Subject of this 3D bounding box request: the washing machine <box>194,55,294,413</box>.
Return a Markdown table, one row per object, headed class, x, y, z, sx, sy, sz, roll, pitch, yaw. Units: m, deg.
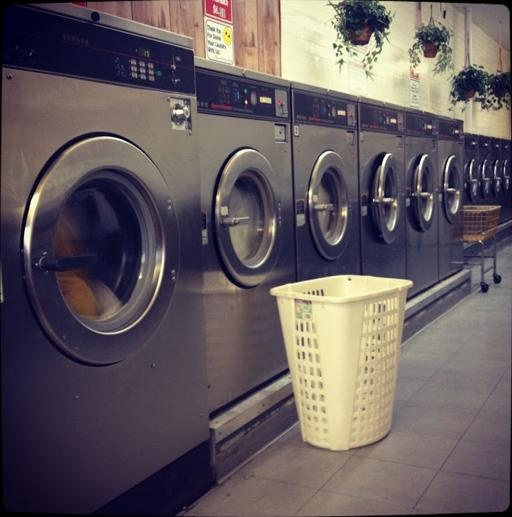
| class | x | y | z | sx | sy | sz | roll | pitch | yaw |
| --- | --- | --- | --- | --- | --- | --- | --- | --- | --- |
| washing machine | -0.175 | -0.131 | 2.220 | 0.696 | 1.407 | 0.648 | -5 | 7 | -34 |
